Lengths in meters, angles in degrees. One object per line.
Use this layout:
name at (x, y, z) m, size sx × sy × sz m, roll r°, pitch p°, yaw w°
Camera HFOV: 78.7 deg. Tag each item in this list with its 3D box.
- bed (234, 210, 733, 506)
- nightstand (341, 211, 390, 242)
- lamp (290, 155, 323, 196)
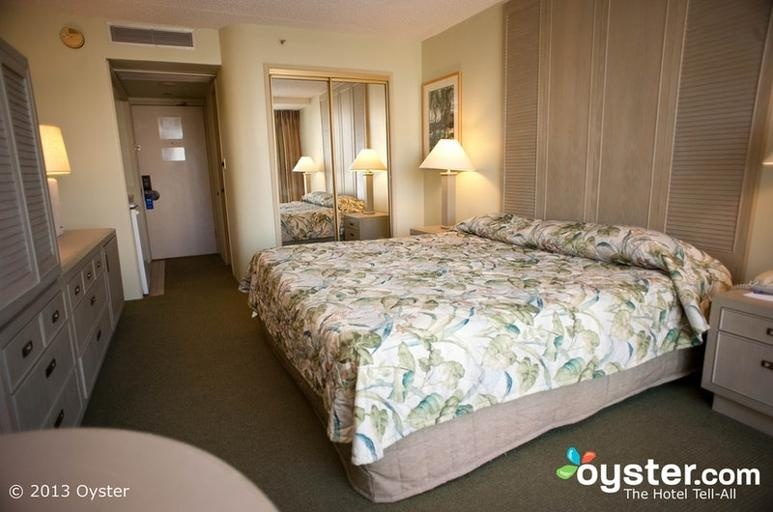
bed at (0.628, 0.400, 2.742) m, size 2.041 × 0.668 × 1.939 m, roll -7°, pitch 15°, yaw -25°
nightstand at (-0.217, -0.389, 5.612) m, size 0.416 × 0.366 × 0.400 m, roll -3°, pitch 9°, yaw -25°
lamp at (-0.901, -0.904, 5.339) m, size 0.410 × 0.650 × 0.372 m, roll -2°, pitch 14°, yaw -14°
